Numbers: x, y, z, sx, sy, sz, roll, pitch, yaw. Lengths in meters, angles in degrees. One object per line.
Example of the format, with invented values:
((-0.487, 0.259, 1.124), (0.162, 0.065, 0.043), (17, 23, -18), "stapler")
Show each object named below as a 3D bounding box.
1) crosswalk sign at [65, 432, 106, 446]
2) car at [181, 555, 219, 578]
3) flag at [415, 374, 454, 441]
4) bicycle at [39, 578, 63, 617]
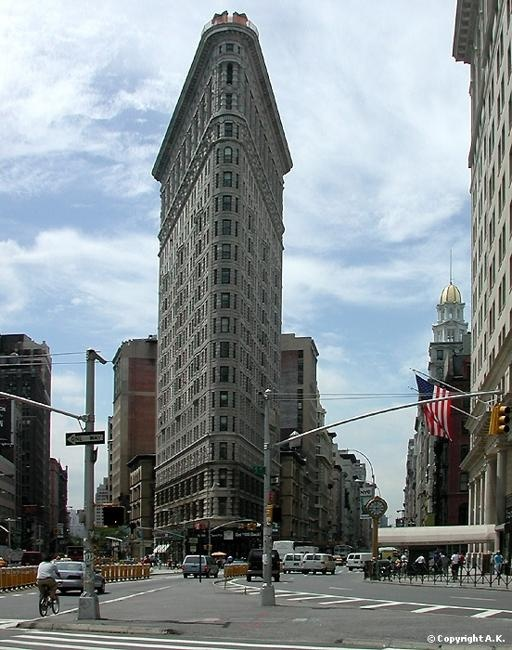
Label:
((-5.410, 3.560, 39.756), (1.193, 0.443, 0.876), (0, -12, -4), "crosswalk sign")
((-3.923, 16.646, 86.258), (1.803, 1.366, 3.302), (-2, -9, 10), "car")
((8.644, 3.949, 61.541), (1.460, 3.902, 0.125), (-7, 26, 3), "flag")
((-6.821, 9.187, 41.932), (0.715, 0.891, 1.448), (-14, -28, -3), "bicycle")
